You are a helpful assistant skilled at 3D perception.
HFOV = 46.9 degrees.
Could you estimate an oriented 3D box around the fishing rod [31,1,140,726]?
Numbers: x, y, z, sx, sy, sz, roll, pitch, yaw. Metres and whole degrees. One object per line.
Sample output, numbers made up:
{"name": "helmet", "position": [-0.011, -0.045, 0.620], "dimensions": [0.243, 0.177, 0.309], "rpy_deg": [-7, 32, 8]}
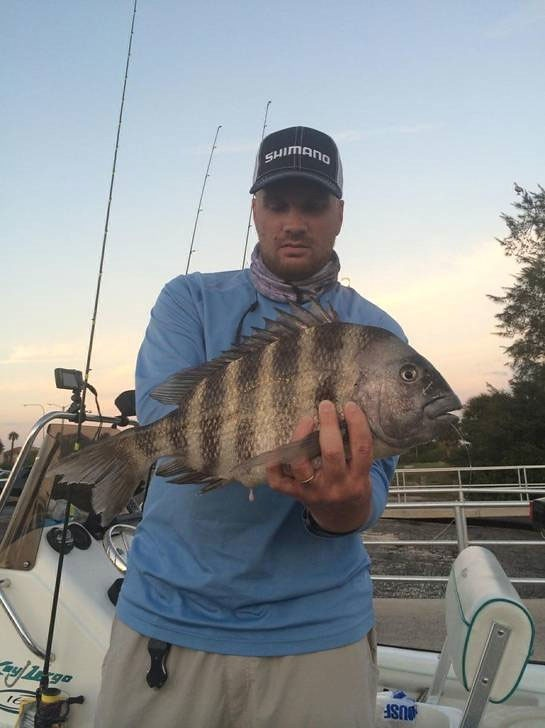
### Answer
{"name": "fishing rod", "position": [-0.697, 0.707, 2.279], "dimensions": [0.291, 3.064, 0.395], "rpy_deg": [4, 7, 40]}
